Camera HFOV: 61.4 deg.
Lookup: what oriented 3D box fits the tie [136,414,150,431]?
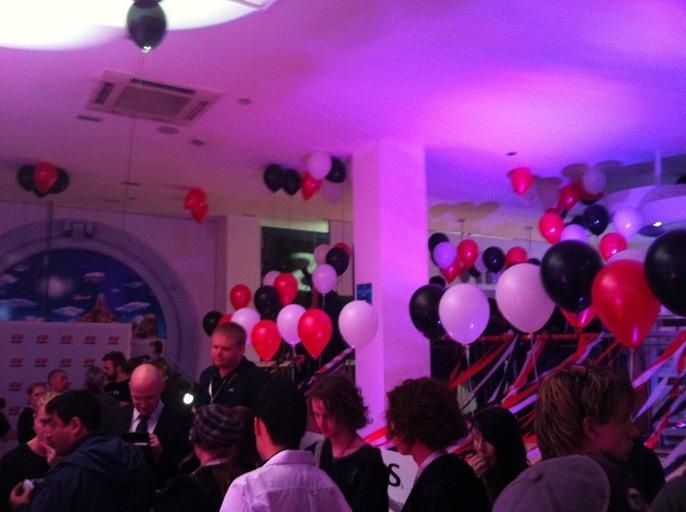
[{"bbox_3d":[-1.404,1.174,4.064,0.030,0.140,0.035,24,-45,-21],"label":"tie"}]

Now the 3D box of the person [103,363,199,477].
[{"bbox_3d":[-1.362,1.431,4.133,0.491,1.289,0.392,-1,9,-3],"label":"person"}]

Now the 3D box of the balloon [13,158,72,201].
[{"bbox_3d":[-3.647,-0.931,7.100,0.553,0.476,0.217,1,-1,-1],"label":"balloon"}]
